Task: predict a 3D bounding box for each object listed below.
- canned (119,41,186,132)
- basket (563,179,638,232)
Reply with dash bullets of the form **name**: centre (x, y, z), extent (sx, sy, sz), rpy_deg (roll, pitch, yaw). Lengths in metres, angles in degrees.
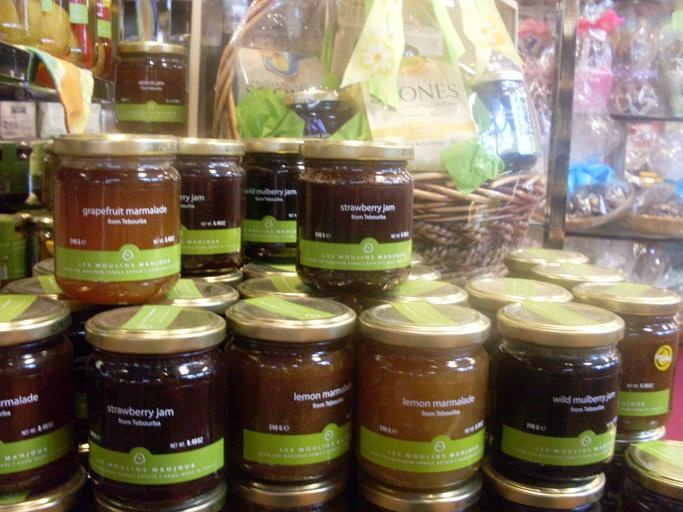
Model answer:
- **canned**: centre (-0.403, -0.362, 1.353), extent (0.175, 0.191, 0.175), rpy_deg (0, 2, -18)
- **basket**: centre (0.688, -0.141, 1.586), extent (0.155, 0.052, 0.156), rpy_deg (-27, 22, -10)
